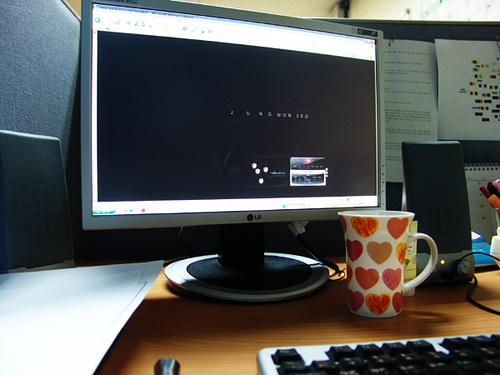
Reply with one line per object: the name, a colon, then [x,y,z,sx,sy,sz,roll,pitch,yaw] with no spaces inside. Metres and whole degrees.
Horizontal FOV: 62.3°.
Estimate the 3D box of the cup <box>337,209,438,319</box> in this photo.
cup: [0.260,0.139,0.765,0.176,0.182,0.122,0,-3,-4]
